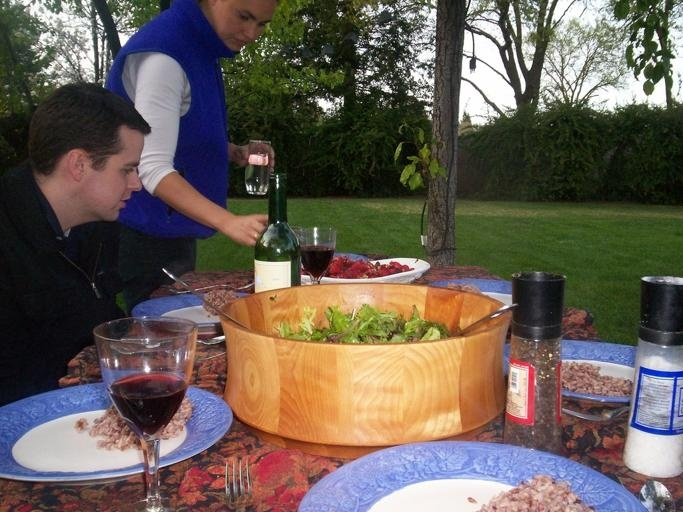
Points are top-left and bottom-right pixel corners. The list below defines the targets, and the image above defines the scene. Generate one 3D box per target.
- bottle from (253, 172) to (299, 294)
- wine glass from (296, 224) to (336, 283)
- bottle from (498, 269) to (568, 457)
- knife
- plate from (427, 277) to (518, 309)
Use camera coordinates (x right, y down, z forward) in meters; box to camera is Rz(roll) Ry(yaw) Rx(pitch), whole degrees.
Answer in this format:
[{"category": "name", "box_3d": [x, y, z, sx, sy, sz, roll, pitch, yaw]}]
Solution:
[{"category": "bottle", "box_3d": [-0.224, -0.039, 1.899, 0.156, 0.494, 0.160, 2, 20, -1]}, {"category": "wine glass", "box_3d": [-0.106, 0.027, 2.320, 0.166, 0.283, 0.175, 1, 2, 33]}, {"category": "bottle", "box_3d": [0.428, 0.222, 1.222, 0.118, 0.410, 0.127, 0, 4, 0]}, {"category": "knife", "box_3d": [-0.536, 0.159, 2.117, 0.267, 0.176, 0.262, -1, 8, -29]}, {"category": "plate", "box_3d": [0.556, 0.130, 2.258, 0.333, 0.094, 0.265, 1, 8, 13]}]
